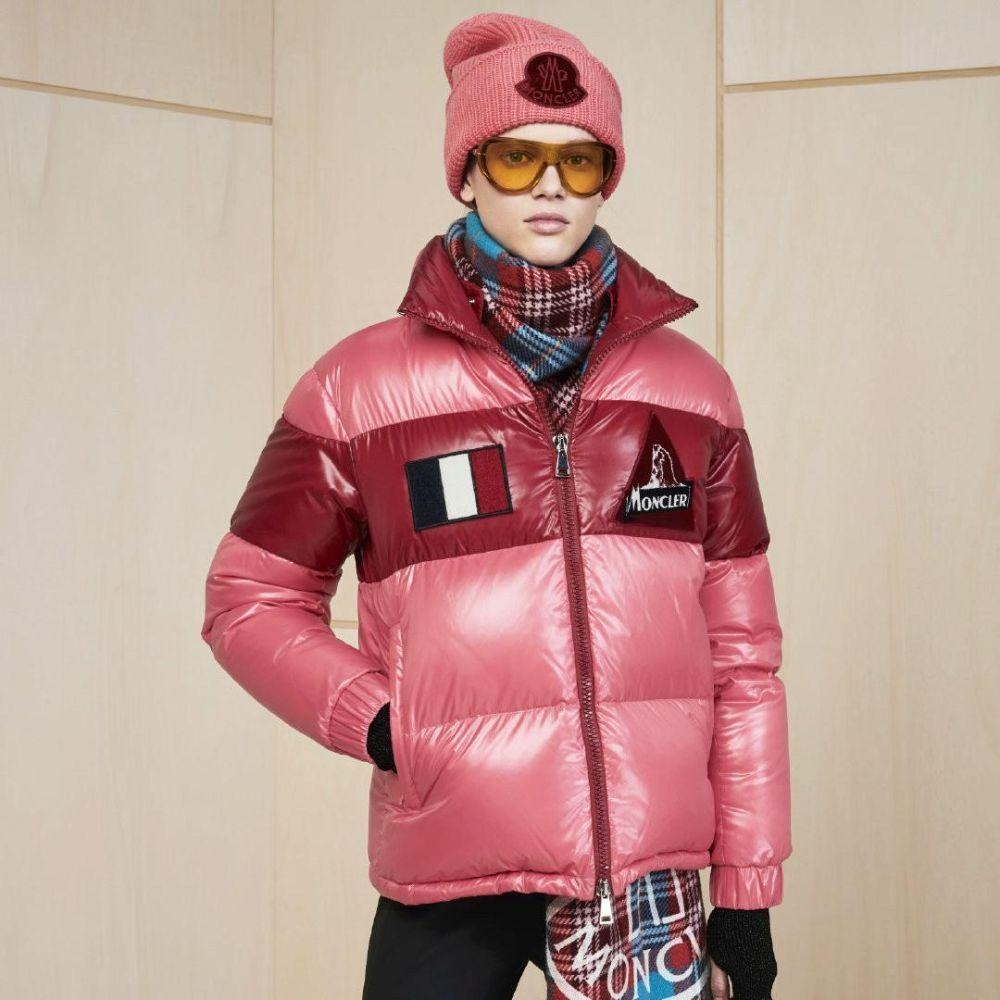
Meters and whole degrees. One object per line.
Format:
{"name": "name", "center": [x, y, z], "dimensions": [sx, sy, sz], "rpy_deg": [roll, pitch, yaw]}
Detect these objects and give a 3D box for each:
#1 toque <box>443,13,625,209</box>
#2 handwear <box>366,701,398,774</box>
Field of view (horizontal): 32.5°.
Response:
{"name": "toque", "center": [0.018, -0.569, 2.611], "dimensions": [0.209, 0.311, 0.271], "rpy_deg": [1, 2, -33]}
{"name": "handwear", "center": [-0.165, 0.348, 2.383], "dimensions": [0.042, 0.117, 0.054], "rpy_deg": [-10, 32, -7]}
